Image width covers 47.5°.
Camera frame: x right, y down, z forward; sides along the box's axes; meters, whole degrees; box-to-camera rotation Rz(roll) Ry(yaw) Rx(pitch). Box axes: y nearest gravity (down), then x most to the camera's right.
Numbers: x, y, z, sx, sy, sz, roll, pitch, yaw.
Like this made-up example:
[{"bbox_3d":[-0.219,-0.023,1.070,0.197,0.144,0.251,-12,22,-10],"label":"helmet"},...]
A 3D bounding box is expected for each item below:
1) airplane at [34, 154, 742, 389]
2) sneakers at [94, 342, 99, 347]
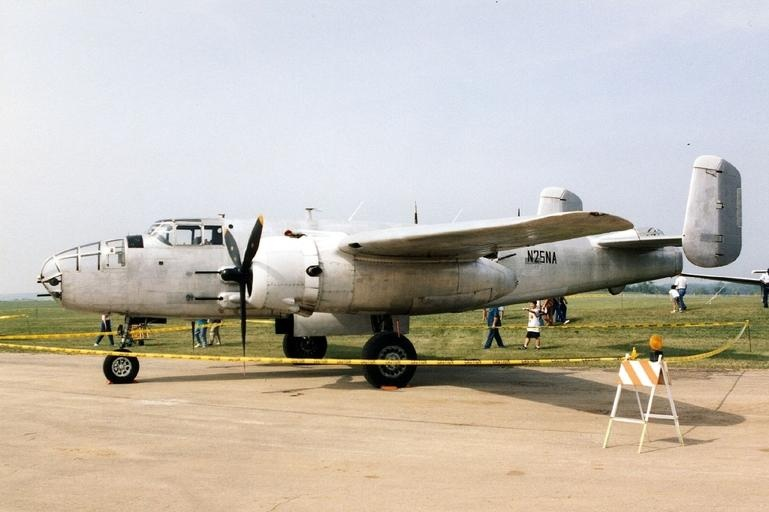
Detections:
[{"bbox_3d":[0.513,0.374,22.235,16.784,5.765,7.906,0,0,-17],"label":"airplane"},{"bbox_3d":[-10.155,3.099,30.742,0.152,0.060,0.160,4,2,5],"label":"sneakers"}]
